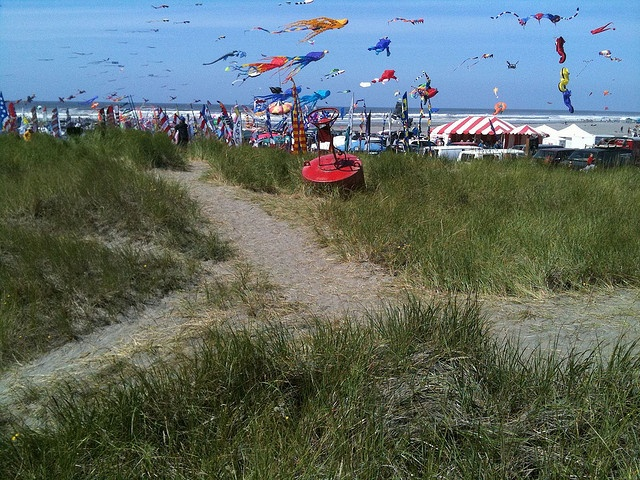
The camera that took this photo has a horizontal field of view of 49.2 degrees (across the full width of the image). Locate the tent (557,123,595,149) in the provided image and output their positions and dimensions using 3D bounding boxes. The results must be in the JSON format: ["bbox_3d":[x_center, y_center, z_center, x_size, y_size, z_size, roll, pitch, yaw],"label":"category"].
[{"bbox_3d":[12.635,-5.166,34.280,1.438,0.982,2.857,1,13,8],"label":"tent"}]

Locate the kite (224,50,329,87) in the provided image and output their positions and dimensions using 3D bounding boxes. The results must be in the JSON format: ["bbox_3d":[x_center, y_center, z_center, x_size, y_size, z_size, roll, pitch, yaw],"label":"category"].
[{"bbox_3d":[-0.769,-3.549,14.236,1.959,0.729,0.639,-12,17,4],"label":"kite"}]

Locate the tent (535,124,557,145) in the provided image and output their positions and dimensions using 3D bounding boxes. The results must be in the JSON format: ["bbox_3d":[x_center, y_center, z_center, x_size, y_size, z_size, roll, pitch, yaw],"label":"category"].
[{"bbox_3d":[11.541,-5.316,35.578,1.013,0.902,3.348,3,13,17],"label":"tent"}]
